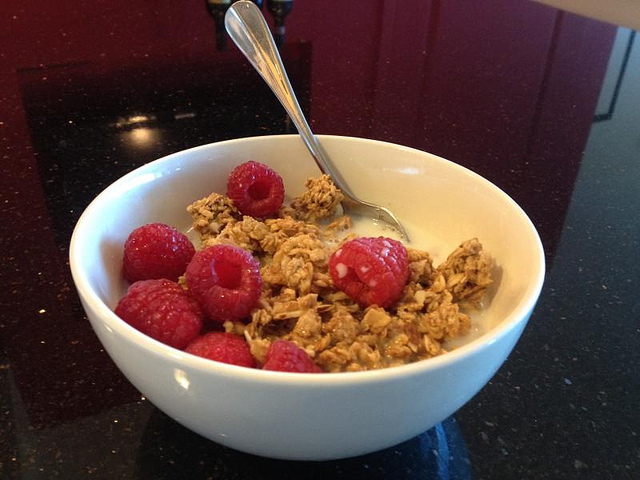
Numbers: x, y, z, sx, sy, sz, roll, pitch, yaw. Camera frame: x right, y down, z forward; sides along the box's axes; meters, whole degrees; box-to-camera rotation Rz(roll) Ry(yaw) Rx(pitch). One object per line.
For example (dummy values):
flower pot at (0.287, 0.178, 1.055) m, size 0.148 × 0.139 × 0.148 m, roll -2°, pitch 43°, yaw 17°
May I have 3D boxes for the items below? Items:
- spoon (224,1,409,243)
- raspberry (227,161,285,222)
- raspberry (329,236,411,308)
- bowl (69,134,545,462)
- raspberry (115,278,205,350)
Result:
spoon at (-0.013, -0.233, 1.074) m, size 0.113 × 0.059 × 0.713 m, roll -30°, pitch 87°, yaw -3°
raspberry at (-0.117, -0.095, 0.926) m, size 0.111 × 0.093 × 0.072 m, roll -6°, pitch 22°, yaw -26°
raspberry at (0.074, 0.044, 0.760) m, size 0.107 × 0.052 × 0.094 m, roll -2°, pitch 71°, yaw -18°
bowl at (-0.040, 0.092, 0.869) m, size 0.705 × 0.439 × 0.527 m, roll -14°, pitch 29°, yaw -24°
raspberry at (-0.200, 0.090, 0.664) m, size 0.095 × 0.052 × 0.077 m, roll 19°, pitch 87°, yaw -1°
